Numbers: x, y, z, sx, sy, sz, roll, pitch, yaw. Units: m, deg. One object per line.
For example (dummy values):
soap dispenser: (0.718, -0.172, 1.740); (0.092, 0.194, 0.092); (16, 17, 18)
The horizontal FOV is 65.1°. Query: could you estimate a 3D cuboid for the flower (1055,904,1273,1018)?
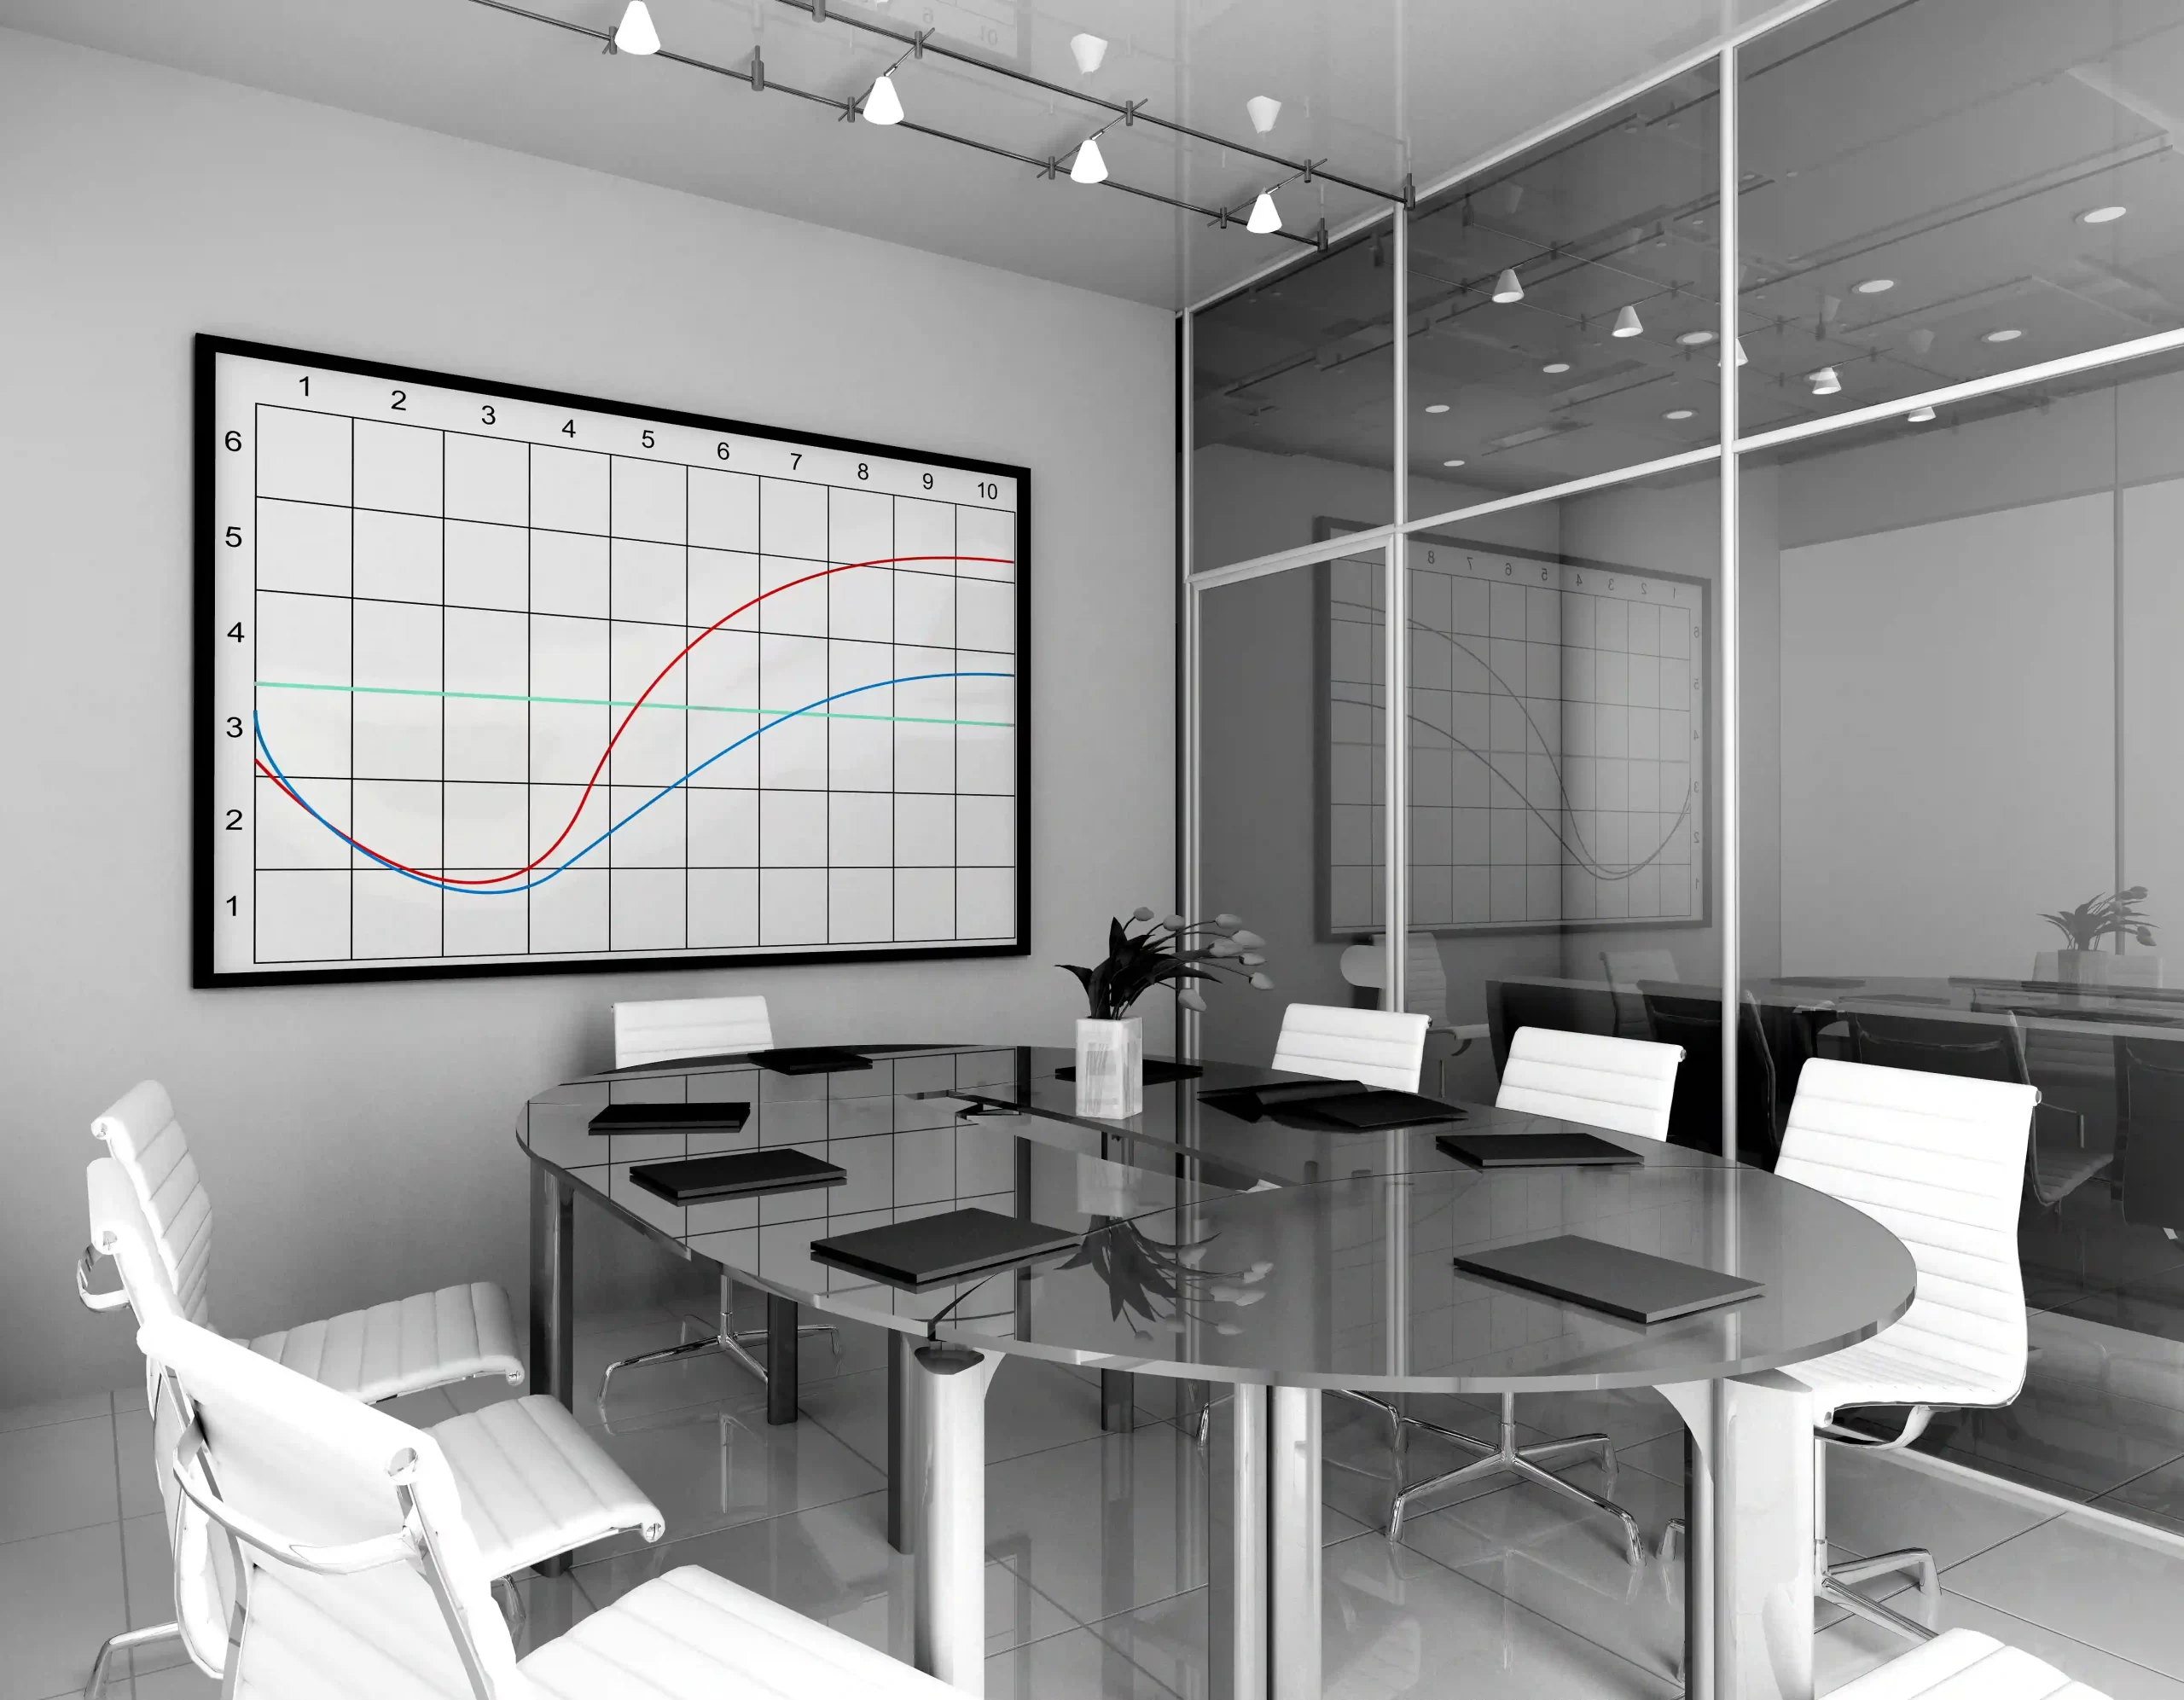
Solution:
flower: (0.118, 0.295, 4.250); (0.515, 0.272, 0.499); (1, -1, 6)
